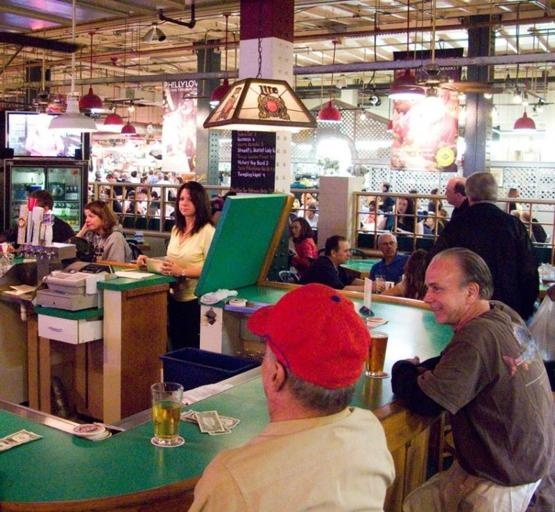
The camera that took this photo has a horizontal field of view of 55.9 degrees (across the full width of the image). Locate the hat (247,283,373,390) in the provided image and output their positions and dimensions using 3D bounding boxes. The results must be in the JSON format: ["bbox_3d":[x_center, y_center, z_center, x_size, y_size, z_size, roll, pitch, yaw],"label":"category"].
[{"bbox_3d":[0.080,0.161,1.186,0.293,0.164,0.232,1,19,19],"label":"hat"}]

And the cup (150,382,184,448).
[{"bbox_3d":[-0.338,0.545,1.780,0.107,0.167,0.107,-6,-8,-1],"label":"cup"}]

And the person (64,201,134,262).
[{"bbox_3d":[-1.783,-0.231,5.410,0.496,0.665,1.904,-2,9,-17],"label":"person"}]

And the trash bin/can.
[{"bbox_3d":[-0.358,0.538,2.539,0.358,0.148,0.229,4,4,35],"label":"trash bin/can"}]

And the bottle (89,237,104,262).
[{"bbox_3d":[-1.832,-0.059,5.299,0.079,0.244,0.167,-4,-8,23],"label":"bottle"}]

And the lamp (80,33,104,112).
[{"bbox_3d":[-3.580,-3.545,10.045,0.425,1.470,0.444,-1,5,-32],"label":"lamp"}]

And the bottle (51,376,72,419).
[{"bbox_3d":[-1.768,1.144,4.235,0.107,0.332,0.179,-6,-10,21],"label":"bottle"}]

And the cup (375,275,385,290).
[{"bbox_3d":[0.824,0.218,4.237,0.071,0.139,0.072,-3,21,1],"label":"cup"}]
